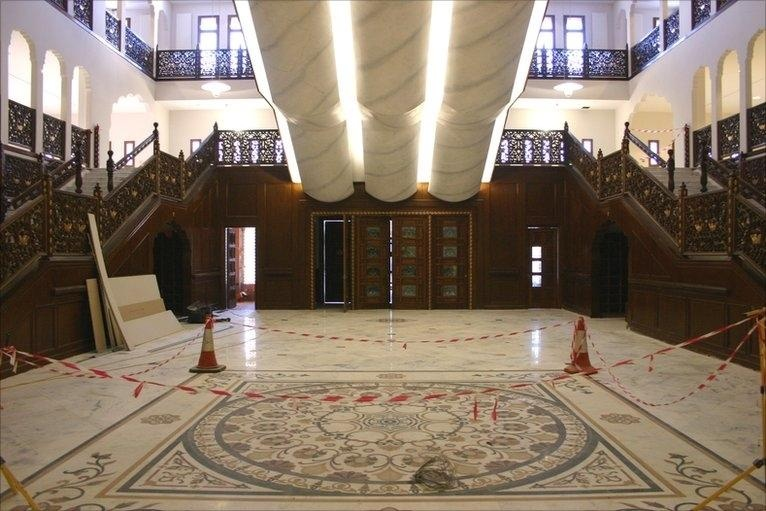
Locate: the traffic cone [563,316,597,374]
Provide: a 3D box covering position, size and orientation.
[{"bbox_3d":[2.930,1.306,7.543,0.568,0.742,0.551,1,0,14],"label":"traffic cone"}]

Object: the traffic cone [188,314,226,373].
[{"bbox_3d":[-2.635,1.293,7.635,0.612,0.793,0.555,4,-7,-26],"label":"traffic cone"}]
